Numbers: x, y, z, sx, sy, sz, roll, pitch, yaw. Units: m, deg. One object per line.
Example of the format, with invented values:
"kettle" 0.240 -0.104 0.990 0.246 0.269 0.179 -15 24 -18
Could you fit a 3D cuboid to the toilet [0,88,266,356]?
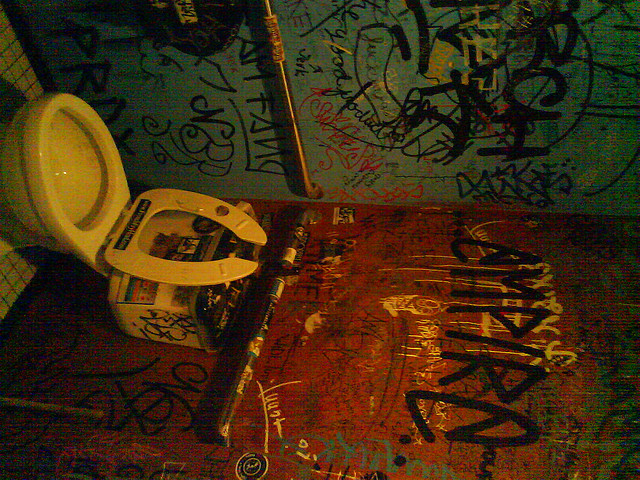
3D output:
"toilet" -0.755 -0.064 2.404 0.998 1.068 0.694 15 52 21
